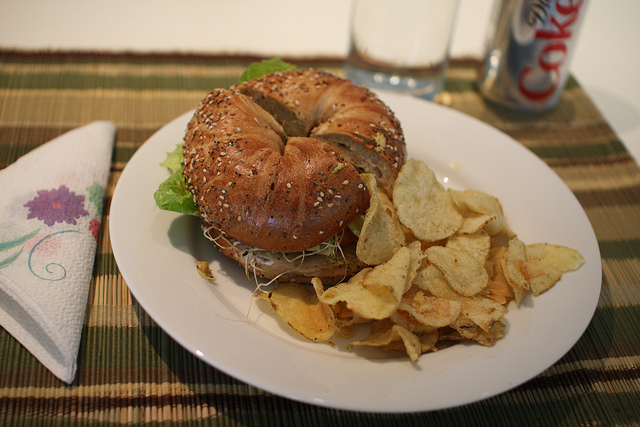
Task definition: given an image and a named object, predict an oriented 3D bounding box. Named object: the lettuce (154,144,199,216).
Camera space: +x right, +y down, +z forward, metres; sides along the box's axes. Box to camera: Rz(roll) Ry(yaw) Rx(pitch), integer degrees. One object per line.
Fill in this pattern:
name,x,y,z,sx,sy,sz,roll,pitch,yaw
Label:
lettuce,-0.714,-0.134,2.527,0.218,0.398,0.166,-13,28,-22
